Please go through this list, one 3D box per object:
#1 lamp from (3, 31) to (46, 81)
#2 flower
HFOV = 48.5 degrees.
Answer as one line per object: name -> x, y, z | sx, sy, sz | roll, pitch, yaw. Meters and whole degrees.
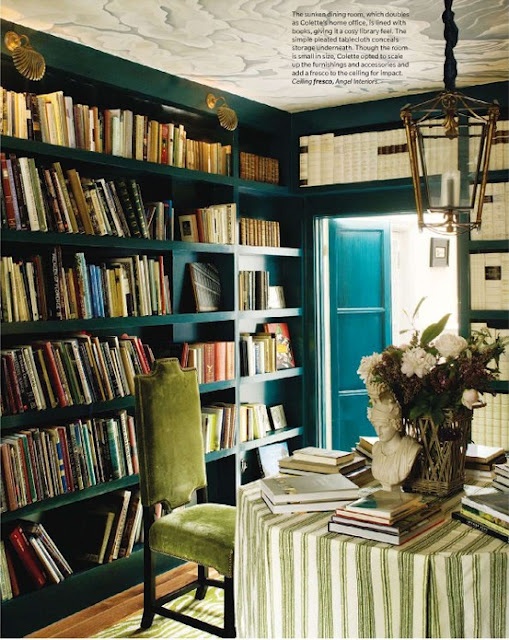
lamp -> -0.919, -1.075, 2.306 | 0.077, 0.185, 0.198 | 0, 5, 38
flower -> 0.511, 0.142, 1.600 | 0.428, 0.307, 0.232 | -2, 4, 6
